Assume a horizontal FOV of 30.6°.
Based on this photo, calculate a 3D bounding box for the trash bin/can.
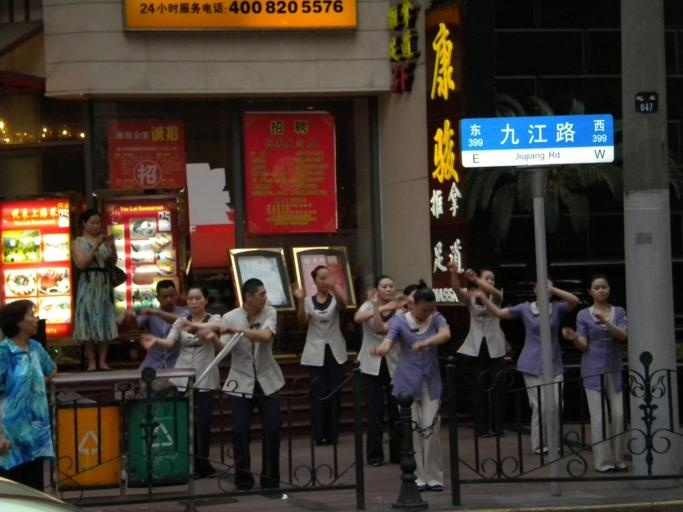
[{"bbox_3d":[-2.276,1.796,12.632,1.252,1.059,0.461,-1,0,-5],"label":"trash bin/can"}]

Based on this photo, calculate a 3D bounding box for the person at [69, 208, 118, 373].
[{"bbox_3d":[-3.375,0.463,16.747,0.618,2.145,1.115,-4,-2,-12],"label":"person"}]

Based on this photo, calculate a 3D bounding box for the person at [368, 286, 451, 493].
[{"bbox_3d":[0.843,1.452,13.369,0.706,1.578,0.622,-4,-2,4],"label":"person"}]

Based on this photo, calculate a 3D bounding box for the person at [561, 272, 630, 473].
[{"bbox_3d":[2.962,1.341,14.138,0.673,1.791,0.830,-5,-2,11],"label":"person"}]

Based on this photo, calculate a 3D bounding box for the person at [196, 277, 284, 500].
[{"bbox_3d":[-1.014,1.409,13.536,0.836,2.287,0.783,-3,-3,-23],"label":"person"}]
